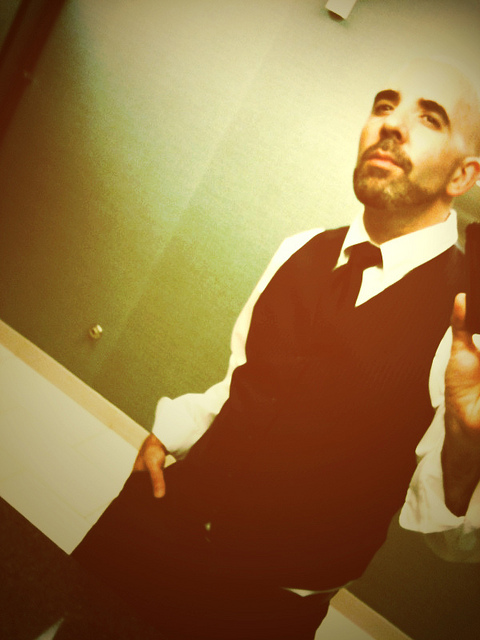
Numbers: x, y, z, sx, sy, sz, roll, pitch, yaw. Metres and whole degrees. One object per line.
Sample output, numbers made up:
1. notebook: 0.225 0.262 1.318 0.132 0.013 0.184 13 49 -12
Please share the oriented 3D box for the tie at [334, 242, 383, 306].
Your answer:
1. tie: 0.562 -0.203 2.896 0.226 0.245 0.065 36 5 29
